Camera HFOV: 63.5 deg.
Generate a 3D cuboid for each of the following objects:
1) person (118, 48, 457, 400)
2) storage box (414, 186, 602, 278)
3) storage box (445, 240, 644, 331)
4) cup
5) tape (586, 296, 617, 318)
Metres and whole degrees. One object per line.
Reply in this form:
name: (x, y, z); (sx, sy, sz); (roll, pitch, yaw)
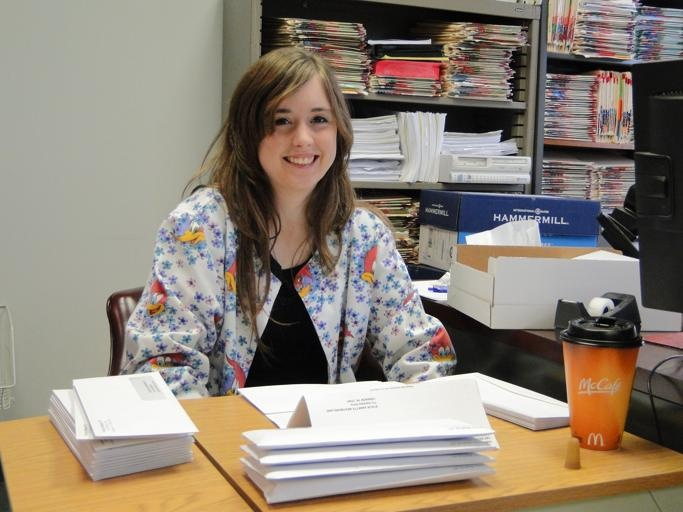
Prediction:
person: (-0.168, -0.028, 1.500); (0.948, 0.965, 0.666); (1, 8, -18)
storage box: (0.746, -0.116, 2.535); (0.675, 0.331, 0.494); (1, 6, -11)
storage box: (0.490, 0.107, 1.502); (0.318, 0.111, 0.315); (11, 15, -30)
cup: (0.429, 0.213, 0.925); (0.128, 0.195, 0.130); (3, -3, 0)
tape: (0.512, 0.088, 1.080); (0.040, 0.056, 0.074); (1, -1, 34)
